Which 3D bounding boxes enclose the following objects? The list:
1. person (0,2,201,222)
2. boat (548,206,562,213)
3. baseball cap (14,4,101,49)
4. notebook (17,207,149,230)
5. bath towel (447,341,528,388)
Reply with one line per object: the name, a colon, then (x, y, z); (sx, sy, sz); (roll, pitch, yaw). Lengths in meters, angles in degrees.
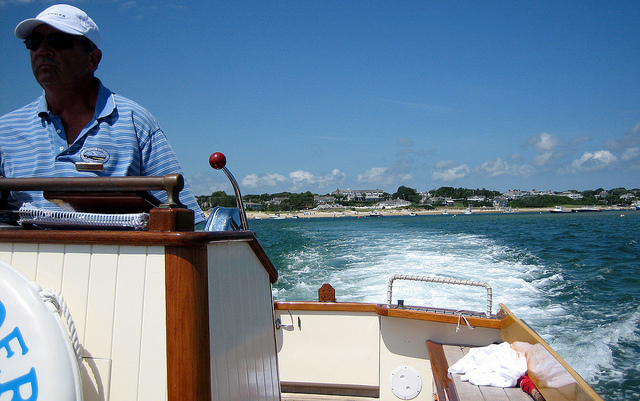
person: (-1.255, -0.329, 2.261); (1.099, 0.932, 0.584); (-6, -14, 2)
boat: (54.722, 2.154, 98.866); (2.331, 1.177, 3.530); (-1, 2, 26)
baseball cap: (-1.408, -0.979, 2.284); (0.395, 0.208, 0.282); (-3, 2, -25)
notebook: (-1.118, 0.085, 2.018); (0.663, 0.115, 0.103); (-1, 3, 15)
bath towel: (1.600, 1.541, 4.203); (0.709, 0.231, 0.825); (0, 0, 17)
